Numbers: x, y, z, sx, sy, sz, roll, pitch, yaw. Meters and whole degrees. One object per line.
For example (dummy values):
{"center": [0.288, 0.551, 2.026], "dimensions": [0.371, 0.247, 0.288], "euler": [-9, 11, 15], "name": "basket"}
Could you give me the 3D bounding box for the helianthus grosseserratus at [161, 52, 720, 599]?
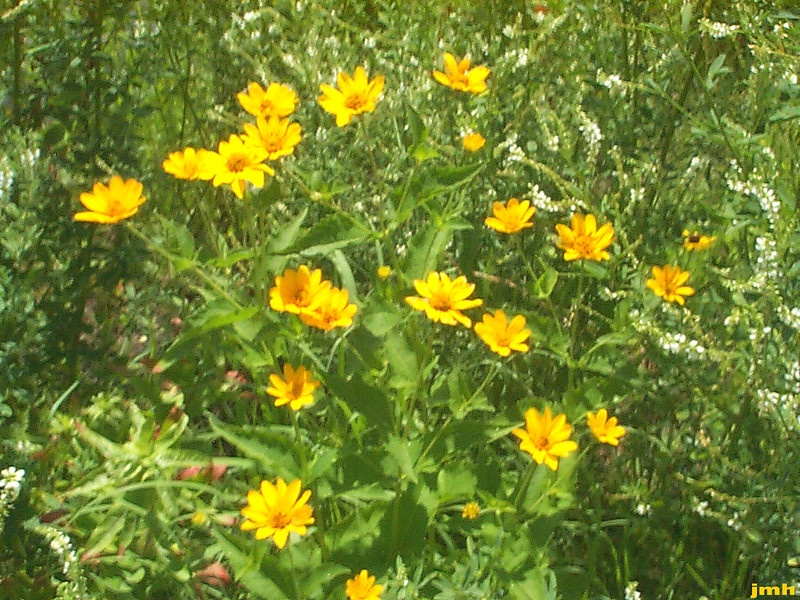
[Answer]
{"center": [0.022, -0.158, 1.895], "dimensions": [1.305, 0.659, 0.688], "euler": [24, 32, 20], "name": "helianthus grosseserratus"}
